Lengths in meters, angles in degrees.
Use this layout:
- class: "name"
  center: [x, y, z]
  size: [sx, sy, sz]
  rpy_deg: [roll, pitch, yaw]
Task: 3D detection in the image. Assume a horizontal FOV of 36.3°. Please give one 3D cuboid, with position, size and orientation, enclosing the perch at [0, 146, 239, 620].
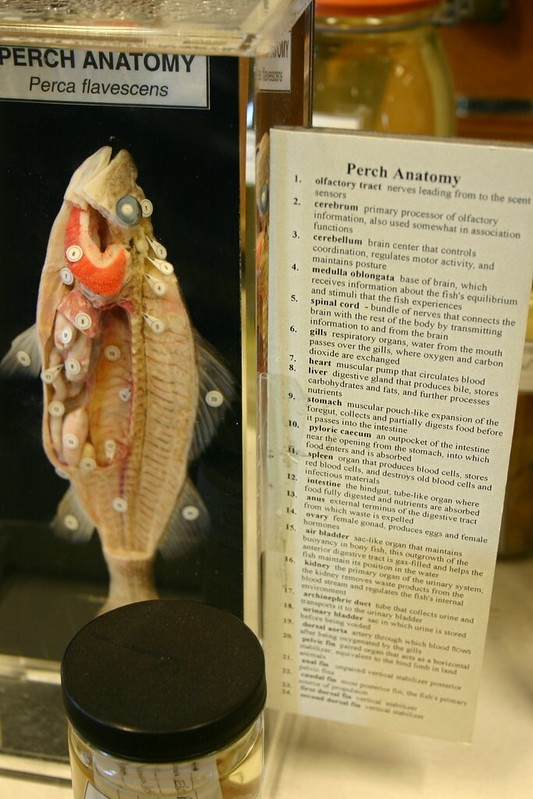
- class: "perch"
  center: [-0.063, -0.009, 0.362]
  size: [0.089, 0.195, 0.041]
  rpy_deg: [2, 20, -1]
